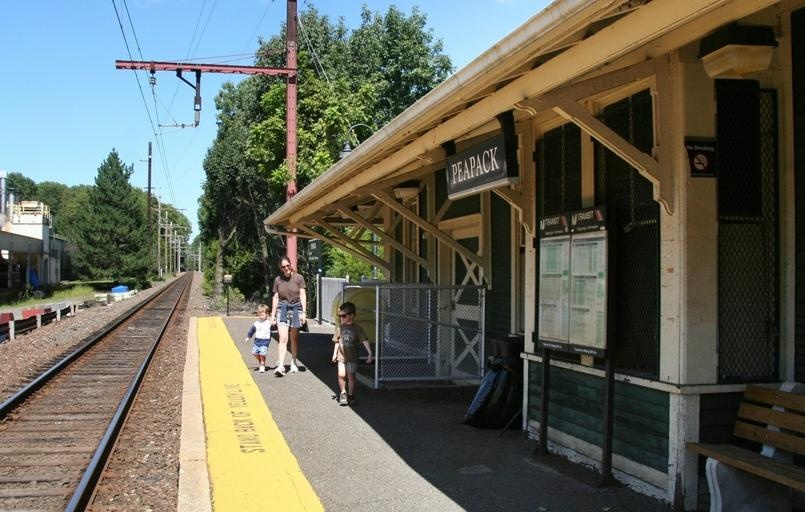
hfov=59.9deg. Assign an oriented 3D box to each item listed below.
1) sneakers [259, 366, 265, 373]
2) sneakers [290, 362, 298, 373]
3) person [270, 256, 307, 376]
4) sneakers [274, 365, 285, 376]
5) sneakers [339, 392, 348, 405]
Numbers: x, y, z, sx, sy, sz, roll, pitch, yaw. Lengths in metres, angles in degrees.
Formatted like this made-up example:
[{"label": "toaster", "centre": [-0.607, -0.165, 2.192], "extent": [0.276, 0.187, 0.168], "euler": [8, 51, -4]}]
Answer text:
[{"label": "sneakers", "centre": [-2.733, 2.225, 13.695], "extent": [0.123, 0.121, 0.374], "euler": [2, -3, -11]}, {"label": "sneakers", "centre": [-2.137, 2.210, 13.791], "extent": [0.172, 0.191, 0.413], "euler": [2, -5, -10]}, {"label": "person", "centre": [-2.213, 1.188, 13.530], "extent": [0.628, 2.244, 1.391], "euler": [2, -3, -10]}, {"label": "sneakers", "centre": [-2.332, 2.203, 13.355], "extent": [0.212, 0.194, 0.440], "euler": [2, -3, -10]}, {"label": "sneakers", "centre": [-0.941, 2.302, 11.253], "extent": [0.091, 0.108, 0.238], "euler": [1, -2, -7]}]
